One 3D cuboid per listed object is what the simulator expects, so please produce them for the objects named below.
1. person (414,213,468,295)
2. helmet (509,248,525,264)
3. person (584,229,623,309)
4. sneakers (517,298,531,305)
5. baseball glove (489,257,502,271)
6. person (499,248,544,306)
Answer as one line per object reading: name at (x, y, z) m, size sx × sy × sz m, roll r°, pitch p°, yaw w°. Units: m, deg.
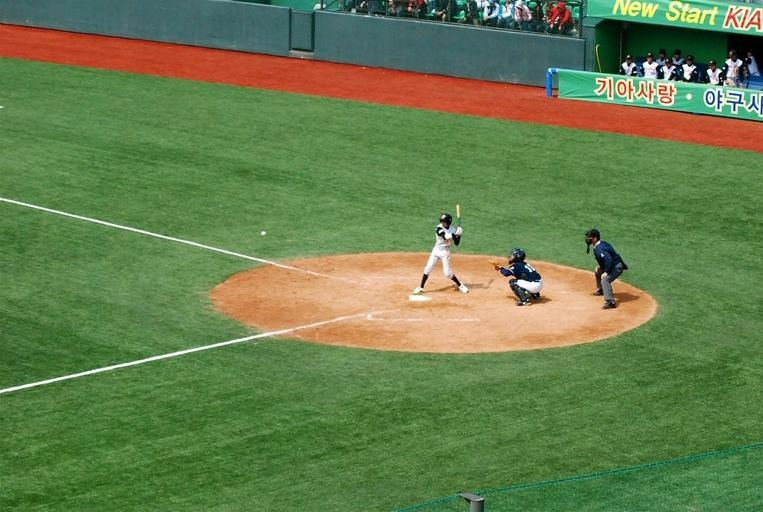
person at (1.504, -0.052, 39.412) m, size 1.309 × 1.973 × 0.803 m, roll 1°, pitch 12°, yaw -21°
helmet at (3.330, -0.038, 38.988) m, size 0.403 × 0.312 × 0.328 m, roll 19°, pitch 19°, yaw 19°
person at (5.421, 0.259, 39.287) m, size 1.031 × 1.784 × 1.502 m, roll 7°, pitch 10°, yaw 7°
sneakers at (3.427, 1.083, 38.819) m, size 0.353 × 0.155 × 0.121 m, roll 5°, pitch 26°, yaw 2°
baseball glove at (2.855, 0.195, 40.513) m, size 0.200 × 0.337 × 0.082 m, roll -37°, pitch 18°, yaw -4°
person at (3.328, 0.434, 39.143) m, size 1.389 × 1.234 × 1.074 m, roll 5°, pitch 16°, yaw 18°
